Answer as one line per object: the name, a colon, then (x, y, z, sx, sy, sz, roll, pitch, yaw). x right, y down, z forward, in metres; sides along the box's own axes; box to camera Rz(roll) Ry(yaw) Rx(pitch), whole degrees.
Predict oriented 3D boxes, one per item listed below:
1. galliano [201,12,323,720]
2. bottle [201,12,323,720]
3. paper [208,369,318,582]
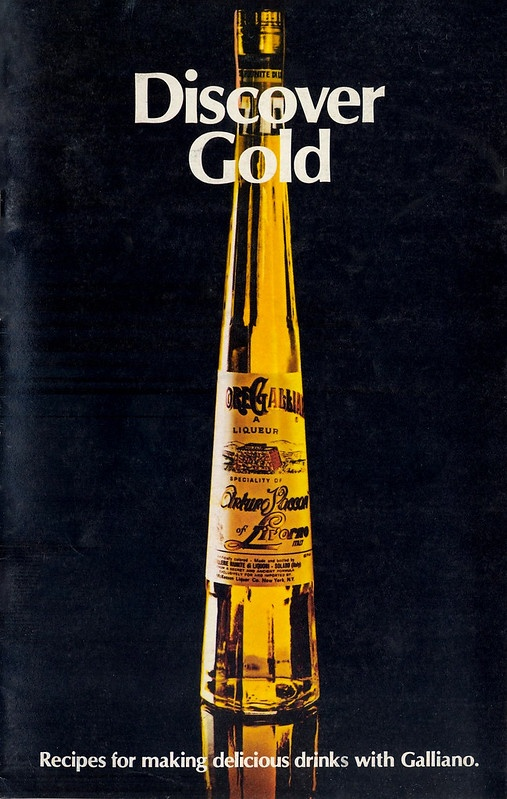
galliano: (0.020, -0.098, 1.990, 0.229, 0.247, 1.383, 1, 83, 0)
bottle: (0.021, -0.085, 2.008, 0.223, 0.249, 1.378, 0, 78, 0)
paper: (0.014, 0.152, 1.887, 0.194, 0.185, 0.377, 1, 68, 3)
